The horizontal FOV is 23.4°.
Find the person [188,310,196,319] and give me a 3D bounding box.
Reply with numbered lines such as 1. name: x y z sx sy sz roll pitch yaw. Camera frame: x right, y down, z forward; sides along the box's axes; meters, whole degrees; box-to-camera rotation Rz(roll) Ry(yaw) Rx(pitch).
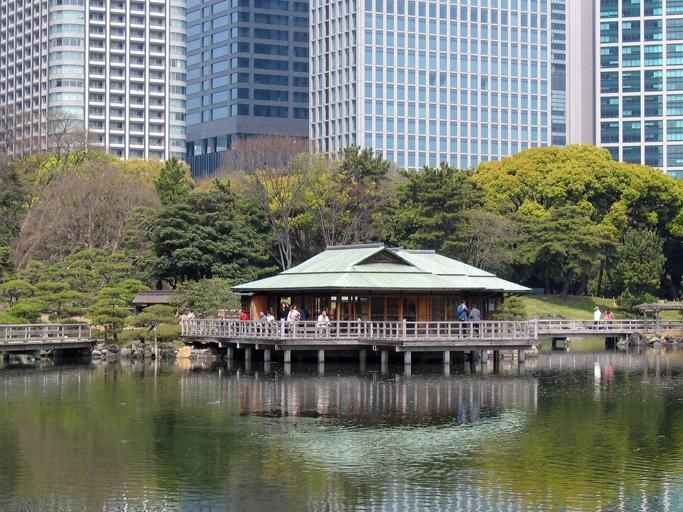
1. person: -14.369 6.006 158.589 0.888 1.101 0.629 2 -25 -5
